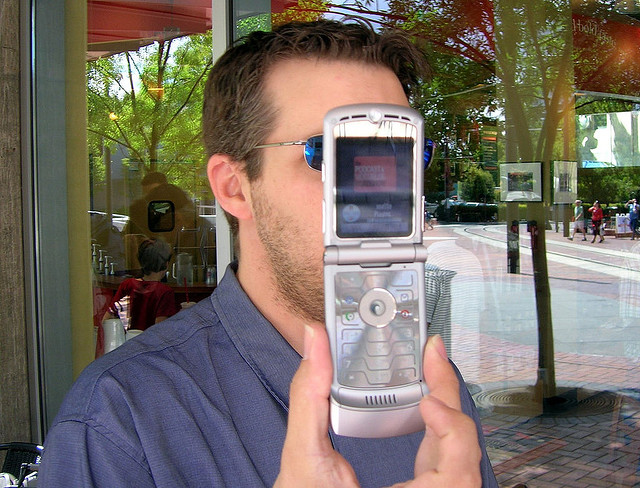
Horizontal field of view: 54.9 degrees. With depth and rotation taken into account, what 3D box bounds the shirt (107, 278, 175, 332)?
[{"bbox_3d":[-1.156,0.444,4.007,0.494,0.398,0.171,7,5,12],"label":"shirt"}]
